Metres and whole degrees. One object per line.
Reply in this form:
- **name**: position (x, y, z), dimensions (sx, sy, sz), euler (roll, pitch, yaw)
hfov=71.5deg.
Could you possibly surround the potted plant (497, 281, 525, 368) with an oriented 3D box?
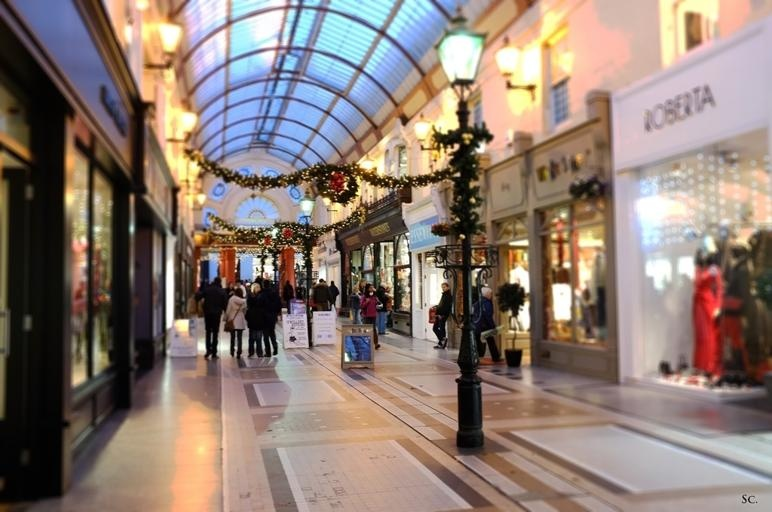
- **potted plant**: position (3.255, 1.698, 13.688), dimensions (0.710, 2.053, 1.487), euler (-1, -1, 21)

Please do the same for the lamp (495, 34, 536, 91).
- **lamp**: position (3.274, -4.710, 13.228), dimensions (0.997, 1.495, 0.460), euler (7, 12, 20)
